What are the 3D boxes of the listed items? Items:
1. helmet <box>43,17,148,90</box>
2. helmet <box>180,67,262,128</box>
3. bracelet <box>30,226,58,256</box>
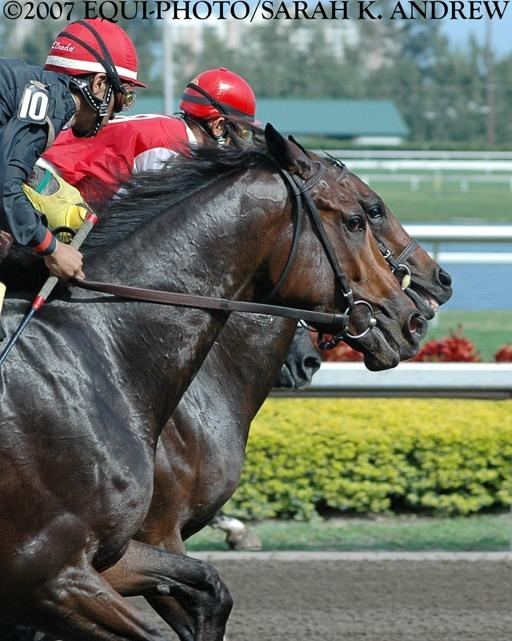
[{"bbox_3d":[-0.424,-0.701,2.509,0.256,0.113,0.166,-6,32,-35],"label":"helmet"},{"bbox_3d":[-0.138,-0.800,3.487,0.348,0.145,0.231,1,23,-32],"label":"helmet"},{"bbox_3d":[-0.448,-0.167,2.150,0.066,0.050,0.046,-20,-37,26],"label":"bracelet"}]
